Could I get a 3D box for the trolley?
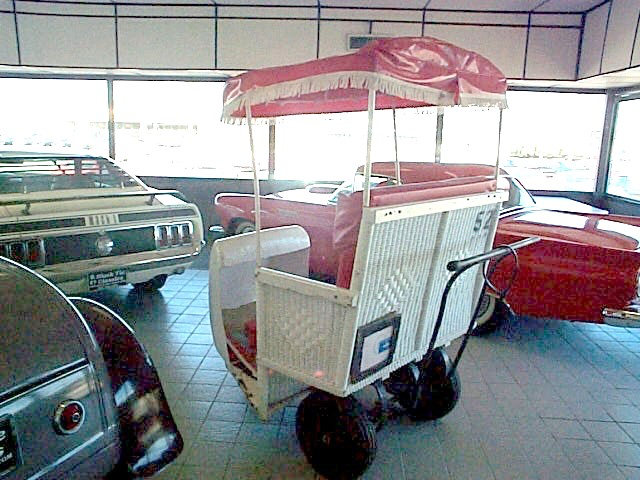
[{"bbox_3d":[0.375,0.058,3.264,1.945,2.767,1.441,8,16,28],"label":"trolley"}]
